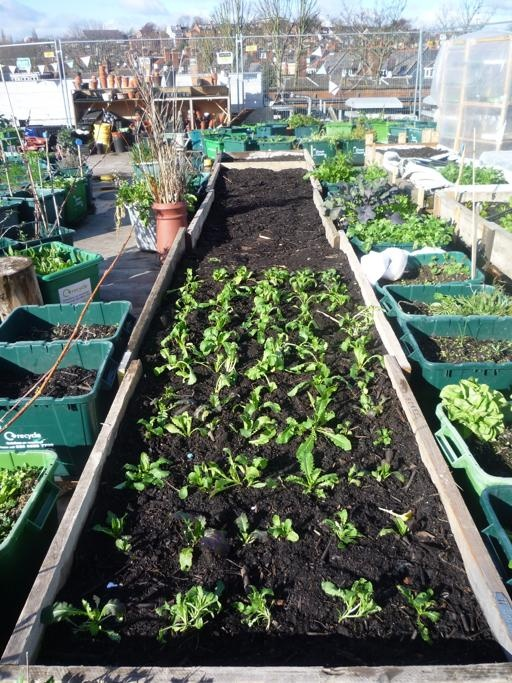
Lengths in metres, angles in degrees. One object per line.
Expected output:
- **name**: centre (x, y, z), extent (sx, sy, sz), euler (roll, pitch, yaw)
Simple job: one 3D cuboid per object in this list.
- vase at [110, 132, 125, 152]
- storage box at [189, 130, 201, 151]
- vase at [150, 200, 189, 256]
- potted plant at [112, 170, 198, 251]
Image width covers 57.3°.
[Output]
- **vase**: centre (-4.741, -6.943, 16.278), extent (0.442, 0.707, 0.901), euler (-8, 27, -13)
- **storage box**: centre (-1.712, -5.667, 13.181), extent (0.321, 0.517, 0.664), euler (-6, 27, -10)
- **vase**: centre (-1.014, -1.316, 5.531), extent (0.425, 0.665, 0.336), euler (0, 27, 4)
- **potted plant**: centre (-1.452, -1.606, 6.401), extent (0.963, 1.021, 0.827), euler (-17, 12, 20)
